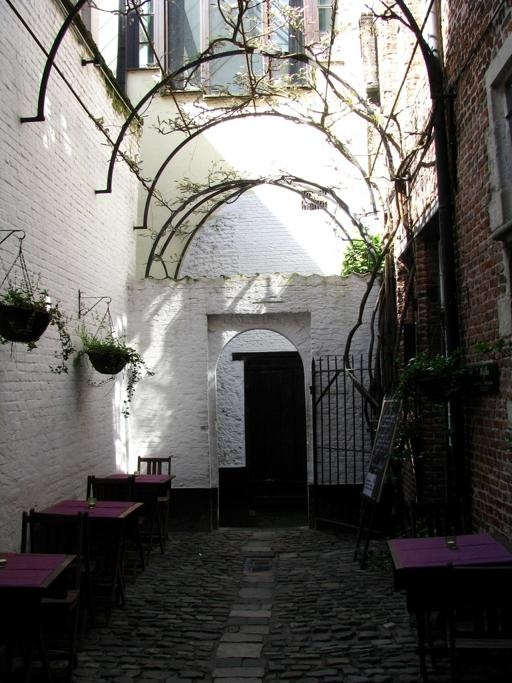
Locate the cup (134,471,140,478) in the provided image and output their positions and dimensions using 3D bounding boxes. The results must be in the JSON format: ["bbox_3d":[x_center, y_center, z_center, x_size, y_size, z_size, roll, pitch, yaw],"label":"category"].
[{"bbox_3d":[-1.310,1.458,6.946,0.056,0.077,0.057,0,-16,0],"label":"cup"}]

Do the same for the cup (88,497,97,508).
[{"bbox_3d":[-1.328,1.307,5.126,0.063,0.072,0.064,0,0,0],"label":"cup"}]

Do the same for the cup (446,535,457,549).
[{"bbox_3d":[1.082,1.118,3.521,0.042,0.057,0.048,1,-5,15],"label":"cup"}]

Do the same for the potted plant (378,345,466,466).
[{"bbox_3d":[1.302,0.407,4.769,0.723,0.791,0.644,-2,-24,14],"label":"potted plant"}]
